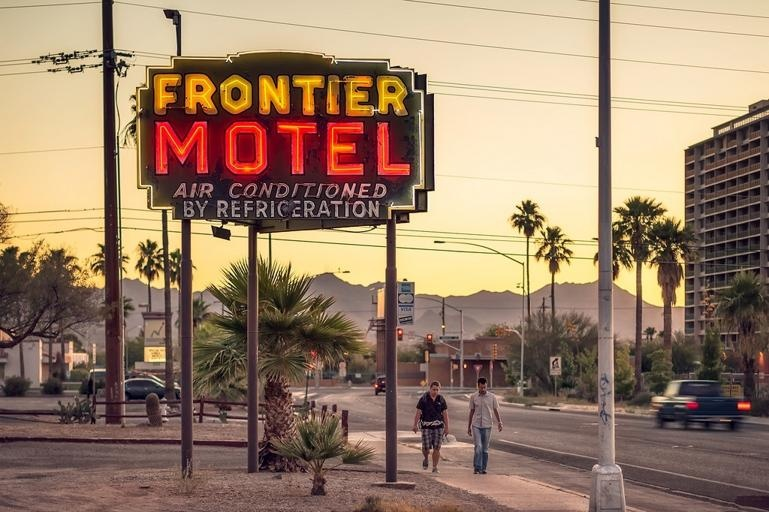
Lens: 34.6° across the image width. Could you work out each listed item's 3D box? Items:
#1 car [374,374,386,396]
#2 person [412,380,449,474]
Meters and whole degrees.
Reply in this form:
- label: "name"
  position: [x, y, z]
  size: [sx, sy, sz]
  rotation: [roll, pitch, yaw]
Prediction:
- label: "car"
  position: [-0.423, 10.899, 105.893]
  size: [0.783, 1.873, 3.861]
  rotation: [1, -9, -4]
- label: "person"
  position: [1.812, 6.504, 47.872]
  size: [1.223, 3.390, 1.096]
  rotation: [0, -4, 6]
